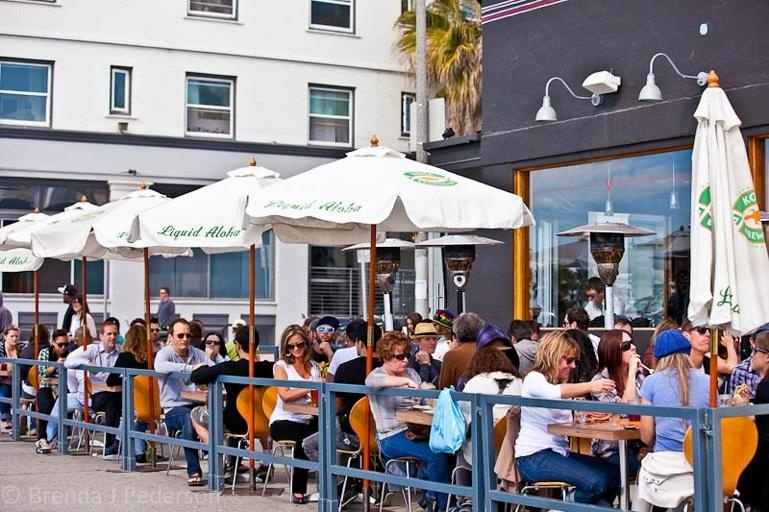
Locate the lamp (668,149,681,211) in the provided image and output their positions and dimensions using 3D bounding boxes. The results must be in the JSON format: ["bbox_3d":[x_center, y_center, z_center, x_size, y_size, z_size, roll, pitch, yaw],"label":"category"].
[{"bbox_3d":[5.134,-1.290,24.942,0.211,0.949,0.138,-3,-7,35],"label":"lamp"}]

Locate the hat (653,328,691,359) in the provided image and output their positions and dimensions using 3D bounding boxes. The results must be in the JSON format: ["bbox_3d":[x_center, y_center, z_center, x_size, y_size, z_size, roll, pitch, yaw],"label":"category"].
[{"bbox_3d":[3.945,1.219,19.280,0.413,0.338,0.415,6,-4,-17],"label":"hat"}]

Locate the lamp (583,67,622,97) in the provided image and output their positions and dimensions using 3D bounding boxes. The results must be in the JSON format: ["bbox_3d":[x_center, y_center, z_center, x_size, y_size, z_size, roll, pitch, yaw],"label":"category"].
[{"bbox_3d":[3.931,-3.144,25.420,0.631,0.427,0.411,-3,-7,35],"label":"lamp"}]

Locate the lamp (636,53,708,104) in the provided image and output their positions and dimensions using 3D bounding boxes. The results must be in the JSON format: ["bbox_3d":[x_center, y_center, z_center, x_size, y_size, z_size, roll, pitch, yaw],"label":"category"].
[{"bbox_3d":[4.879,-3.069,24.481,1.517,1.032,0.587,3,-4,-22],"label":"lamp"}]

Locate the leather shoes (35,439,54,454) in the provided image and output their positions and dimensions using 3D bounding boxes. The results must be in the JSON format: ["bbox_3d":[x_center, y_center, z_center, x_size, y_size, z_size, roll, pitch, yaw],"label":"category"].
[{"bbox_3d":[-5.995,3.337,24.514,0.145,0.163,0.378,3,-7,-40],"label":"leather shoes"}]

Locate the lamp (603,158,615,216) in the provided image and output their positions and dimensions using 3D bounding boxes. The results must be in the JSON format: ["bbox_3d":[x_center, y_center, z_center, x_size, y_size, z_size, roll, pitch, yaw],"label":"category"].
[{"bbox_3d":[4.128,-1.205,25.821,0.201,0.938,0.171,-2,-6,29],"label":"lamp"}]

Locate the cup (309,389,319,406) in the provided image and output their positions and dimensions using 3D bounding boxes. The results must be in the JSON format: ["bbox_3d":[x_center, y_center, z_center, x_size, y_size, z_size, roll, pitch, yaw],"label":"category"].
[{"bbox_3d":[-1.103,2.196,21.714,0.249,0.262,0.251,0,-1,0],"label":"cup"}]

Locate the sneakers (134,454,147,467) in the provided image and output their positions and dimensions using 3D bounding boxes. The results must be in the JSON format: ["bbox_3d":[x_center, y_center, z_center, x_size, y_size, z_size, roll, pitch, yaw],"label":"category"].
[{"bbox_3d":[-4.099,3.412,23.458,0.120,0.192,0.186,6,-11,-32],"label":"sneakers"}]

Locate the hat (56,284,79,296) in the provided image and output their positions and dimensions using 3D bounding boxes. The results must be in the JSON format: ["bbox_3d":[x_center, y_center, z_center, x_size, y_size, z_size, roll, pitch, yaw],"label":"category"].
[{"bbox_3d":[-7.331,0.797,32.130,0.408,0.162,0.287,12,16,33],"label":"hat"}]

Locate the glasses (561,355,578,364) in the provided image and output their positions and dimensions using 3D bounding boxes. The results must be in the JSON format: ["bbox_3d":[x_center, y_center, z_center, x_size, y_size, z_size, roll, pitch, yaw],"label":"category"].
[{"bbox_3d":[2.537,1.459,19.368,0.137,0.043,0.138,4,-32,-11],"label":"glasses"}]

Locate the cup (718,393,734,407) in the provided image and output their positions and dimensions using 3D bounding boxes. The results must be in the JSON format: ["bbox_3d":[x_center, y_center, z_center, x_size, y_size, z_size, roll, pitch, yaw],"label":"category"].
[{"bbox_3d":[4.781,2.023,19.695,0.170,0.165,0.168,2,3,0],"label":"cup"}]
